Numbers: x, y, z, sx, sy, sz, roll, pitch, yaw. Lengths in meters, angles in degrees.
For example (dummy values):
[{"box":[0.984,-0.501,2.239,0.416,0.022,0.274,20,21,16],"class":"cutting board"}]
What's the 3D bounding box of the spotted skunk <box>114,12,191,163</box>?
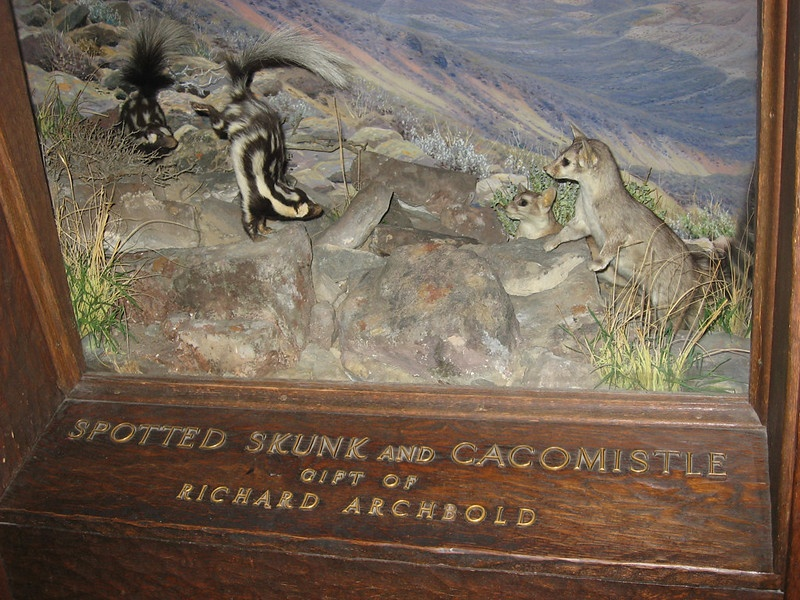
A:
[{"box":[-2.014,-1.652,5.581,0.564,1.073,0.484,-6,19,-27],"class":"spotted skunk"}]
